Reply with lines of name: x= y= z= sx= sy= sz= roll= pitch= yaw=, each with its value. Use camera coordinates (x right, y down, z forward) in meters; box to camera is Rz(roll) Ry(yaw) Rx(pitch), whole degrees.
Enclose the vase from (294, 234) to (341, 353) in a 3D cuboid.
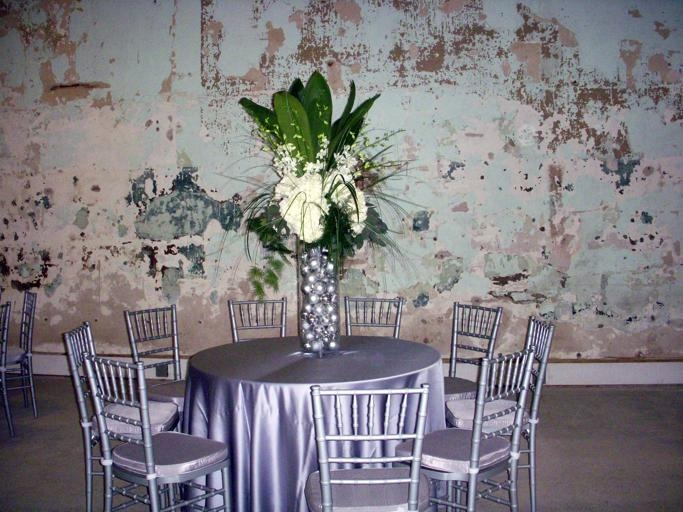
vase: x=-0.159 y=0.247 z=4.943 sx=0.293 sy=1.037 sz=0.283 roll=-2 pitch=31 yaw=-3
